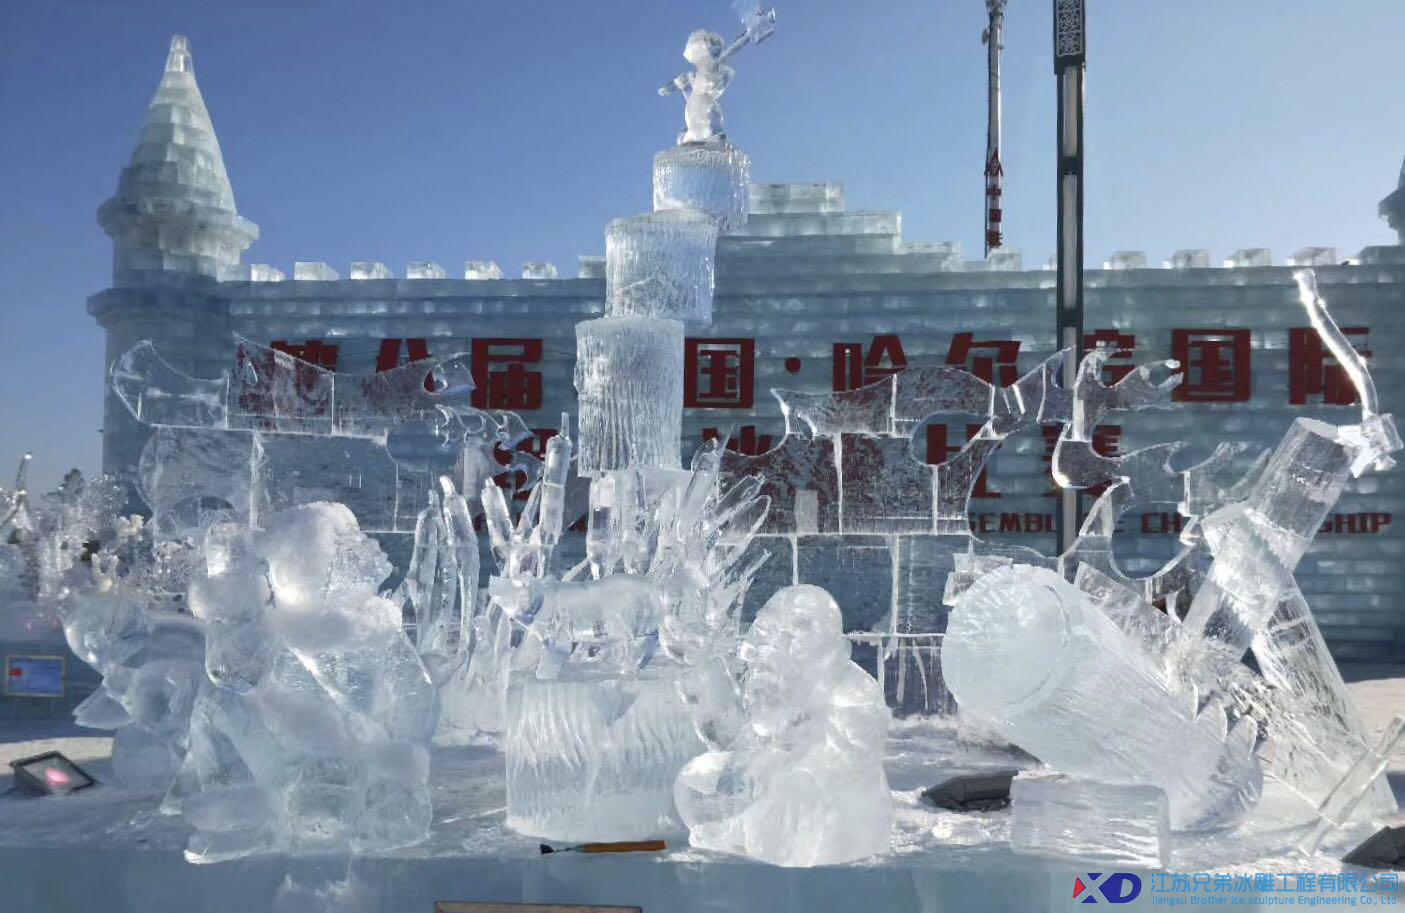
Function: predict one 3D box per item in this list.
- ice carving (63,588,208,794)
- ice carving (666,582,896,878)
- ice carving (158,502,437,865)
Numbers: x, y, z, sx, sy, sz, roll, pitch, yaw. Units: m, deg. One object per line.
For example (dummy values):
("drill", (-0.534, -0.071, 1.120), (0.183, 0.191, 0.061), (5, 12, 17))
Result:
("ice carving", (-2.770, 1.189, 11.525), (0.815, 0.979, 0.501), (1, -4, 1))
("ice carving", (0.405, 1.329, 11.134), (0.994, 1.340, 0.340), (-1, -8, 4))
("ice carving", (-1.863, 1.082, 11.865), (1.762, 2.123, 1.565), (0, 2, -2))
